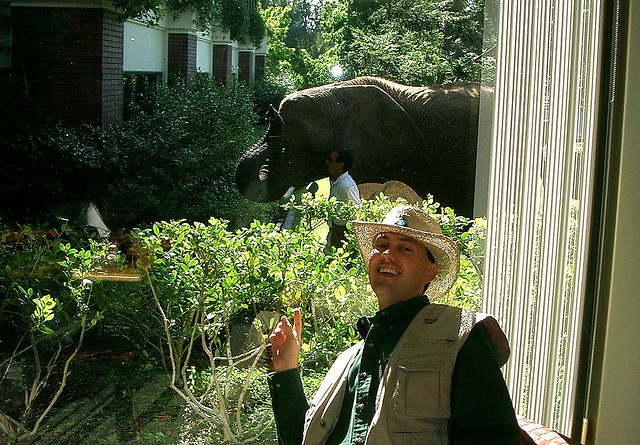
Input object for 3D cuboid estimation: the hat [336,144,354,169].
[{"bbox_3d":[0.213,-0.516,4.464,0.125,0.171,0.171,3,6,3],"label":"hat"}]
